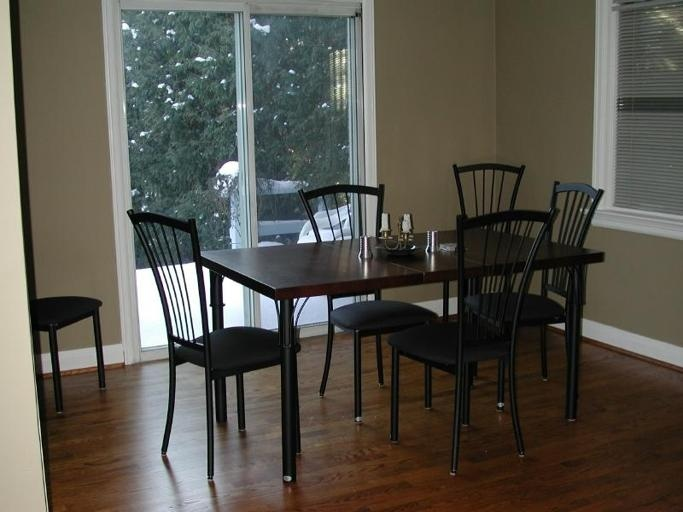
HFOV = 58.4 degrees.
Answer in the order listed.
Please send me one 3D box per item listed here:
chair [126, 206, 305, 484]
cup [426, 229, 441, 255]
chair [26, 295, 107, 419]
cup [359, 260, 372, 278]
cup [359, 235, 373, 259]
[{"bbox_3d":[-0.814,0.195,3.359,0.613,1.071,2.414,-5,11,-19],"label":"chair"},{"bbox_3d":[0.427,-0.064,2.933,0.089,0.142,0.098,2,5,0],"label":"cup"},{"bbox_3d":[-1.371,0.516,3.204,0.421,0.452,0.376,-17,-5,38],"label":"chair"},{"bbox_3d":[0.096,0.051,2.523,0.057,0.104,0.062,1,1,0],"label":"cup"},{"bbox_3d":[0.115,-0.044,2.757,0.086,0.104,0.090,-1,2,0],"label":"cup"}]
